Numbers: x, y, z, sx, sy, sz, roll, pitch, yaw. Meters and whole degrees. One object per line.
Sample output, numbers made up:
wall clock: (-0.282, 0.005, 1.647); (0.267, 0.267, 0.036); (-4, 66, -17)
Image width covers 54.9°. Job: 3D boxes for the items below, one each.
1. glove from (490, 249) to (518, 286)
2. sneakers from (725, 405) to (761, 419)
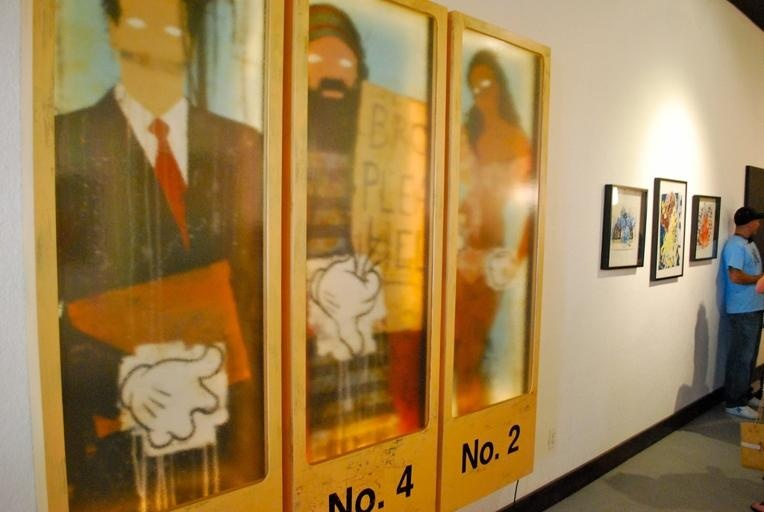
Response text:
glove: (0.544, 0.063, 3.353); (0.034, 0.157, 0.151); (6, 35, 47)
sneakers: (2.518, 1.099, 5.147); (0.197, 0.072, 0.161); (2, 7, 26)
